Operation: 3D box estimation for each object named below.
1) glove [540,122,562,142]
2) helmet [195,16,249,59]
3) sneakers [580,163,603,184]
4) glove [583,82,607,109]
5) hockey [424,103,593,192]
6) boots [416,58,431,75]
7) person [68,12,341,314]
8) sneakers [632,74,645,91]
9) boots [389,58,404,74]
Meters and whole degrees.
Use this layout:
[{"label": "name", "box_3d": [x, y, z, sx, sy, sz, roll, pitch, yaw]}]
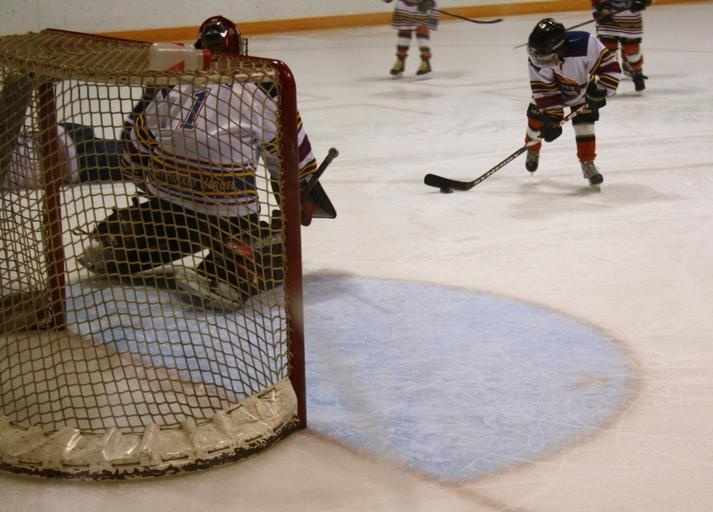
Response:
[{"label": "glove", "box_3d": [1.062, -0.679, 4.784, 0.102, 0.094, 0.112, -21, 31, -41]}, {"label": "helmet", "box_3d": [-0.507, -0.845, 3.324, 0.199, 0.138, 0.136, 9, 10, 16]}, {"label": "sneakers", "box_3d": [1.203, -0.422, 4.485, 0.064, 0.075, 0.170, -29, 24, 9]}, {"label": "glove", "box_3d": [1.271, -0.860, 4.626, 0.107, 0.139, 0.170, 2, 20, 12]}, {"label": "hockey", "box_3d": [0.890, -0.611, 5.036, 1.173, 0.123, 0.157, -32, 62, -4]}, {"label": "boots", "box_3d": [0.619, -1.753, 8.059, 0.132, 0.148, 0.223, -1, 19, 6]}, {"label": "person", "box_3d": [-0.612, -0.317, 3.217, 0.950, 1.080, 0.873, 6, 23, 22]}, {"label": "sneakers", "box_3d": [2.151, -1.322, 6.640, 0.087, 0.134, 0.163, 4, 21, 18]}, {"label": "boots", "box_3d": [0.380, -1.773, 8.143, 0.122, 0.152, 0.244, -1, 19, 6]}]
